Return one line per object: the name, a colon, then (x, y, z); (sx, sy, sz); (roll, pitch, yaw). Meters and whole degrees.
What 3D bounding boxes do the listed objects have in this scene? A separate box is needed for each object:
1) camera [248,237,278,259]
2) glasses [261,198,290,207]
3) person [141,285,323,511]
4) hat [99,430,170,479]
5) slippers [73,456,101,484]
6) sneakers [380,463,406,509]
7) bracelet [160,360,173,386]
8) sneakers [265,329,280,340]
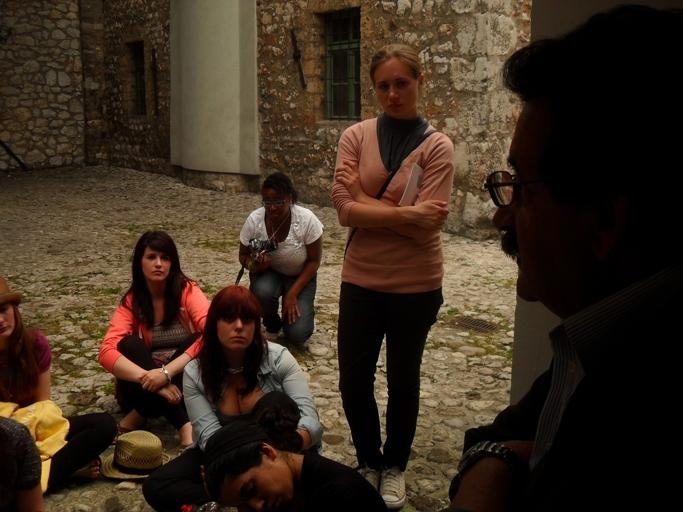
camera: (-0.695, -0.080, 4.713); (0.259, 0.152, 0.078); (4, 12, 10)
glasses: (-0.558, -0.456, 4.598); (0.225, 0.074, 0.155); (0, 12, -8)
person: (-0.559, 0.809, 3.475); (1.121, 1.320, 1.108); (-4, -8, -10)
hat: (-1.229, 1.200, 3.223); (0.446, 0.188, 0.488); (12, -7, -41)
slippers: (-1.451, 1.248, 3.122); (0.061, 0.125, 0.176); (14, 18, 41)
sneakers: (0.275, 1.207, 2.748); (0.088, 0.097, 0.241); (0, 0, 2)
bracelet: (-1.142, 0.785, 3.495); (0.040, 0.109, 0.079); (-17, 21, -35)
sneakers: (-0.636, 0.732, 4.949); (0.084, 0.077, 0.145); (-2, -3, -3)
